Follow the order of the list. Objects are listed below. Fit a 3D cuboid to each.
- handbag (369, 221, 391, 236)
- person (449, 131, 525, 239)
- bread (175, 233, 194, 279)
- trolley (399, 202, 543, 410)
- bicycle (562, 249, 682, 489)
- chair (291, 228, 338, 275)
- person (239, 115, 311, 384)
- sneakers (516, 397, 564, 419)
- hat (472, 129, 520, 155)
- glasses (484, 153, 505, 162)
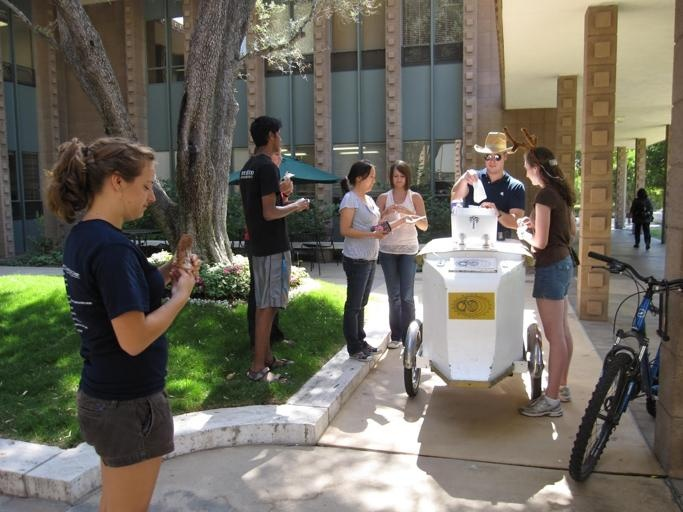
[{"bbox_3d":[0.439,-0.305,6.423,0.155,0.046,0.168,-4,46,13],"label":"handbag"},{"bbox_3d":[1.623,-0.694,6.676,0.772,1.380,0.670,0,11,-19],"label":"person"},{"bbox_3d":[-0.893,-0.002,3.405,0.112,0.234,0.074,-1,3,12],"label":"bread"},{"bbox_3d":[1.390,0.503,6.200,1.243,1.893,2.241,1,1,12],"label":"trolley"},{"bbox_3d":[2.286,0.825,4.767,0.620,1.731,1.334,13,17,39],"label":"bicycle"},{"bbox_3d":[-0.648,-0.135,15.550,0.859,1.743,1.160,1,10,1],"label":"chair"},{"bbox_3d":[-0.733,-0.092,6.042,0.593,2.598,0.870,0,13,-10],"label":"person"},{"bbox_3d":[1.880,1.424,5.619,0.385,0.198,0.164,0,-1,3],"label":"sneakers"},{"bbox_3d":[1.705,-1.245,6.554,0.397,0.250,0.362,8,14,22],"label":"hat"},{"bbox_3d":[1.672,-1.092,6.488,0.196,0.084,0.119,6,14,15],"label":"glasses"}]
